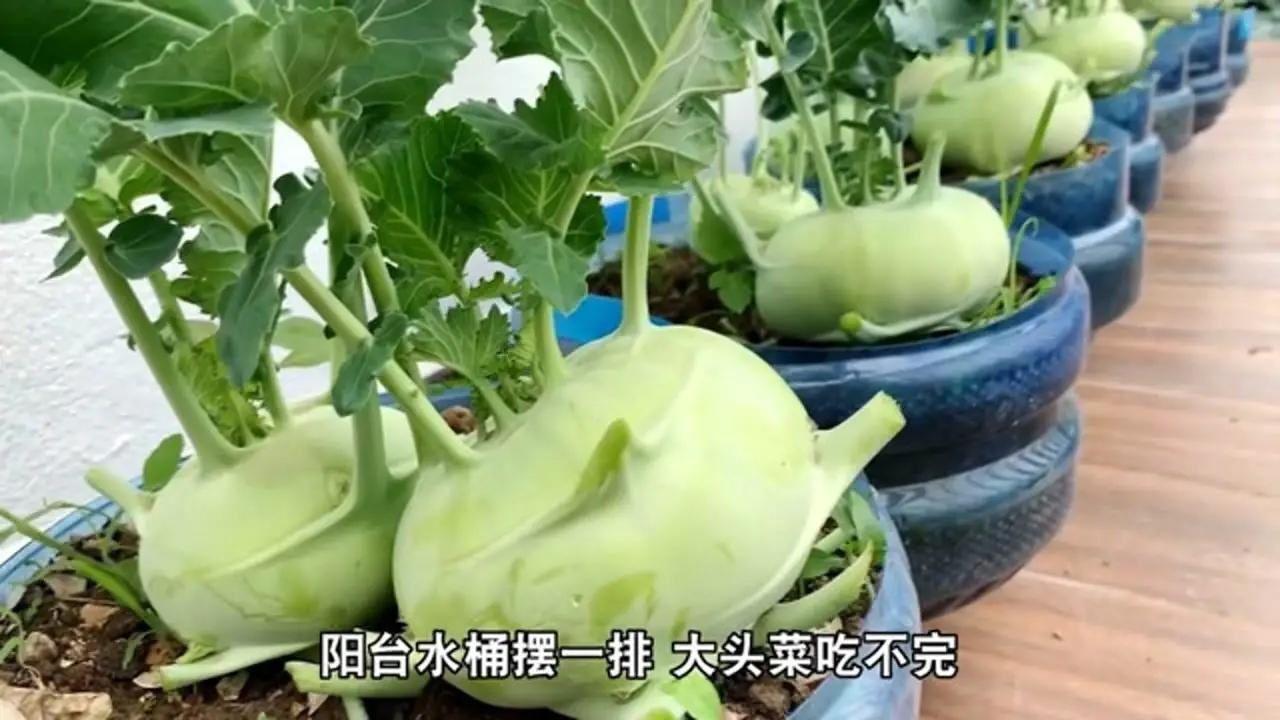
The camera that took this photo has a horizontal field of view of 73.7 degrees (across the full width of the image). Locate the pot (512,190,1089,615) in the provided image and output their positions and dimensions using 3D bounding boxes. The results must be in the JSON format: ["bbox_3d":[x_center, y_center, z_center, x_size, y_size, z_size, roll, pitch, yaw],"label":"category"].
[{"bbox_3d":[0.247,0.061,1.037,0.499,0.353,0.506,3,18,-1],"label":"pot"}]
